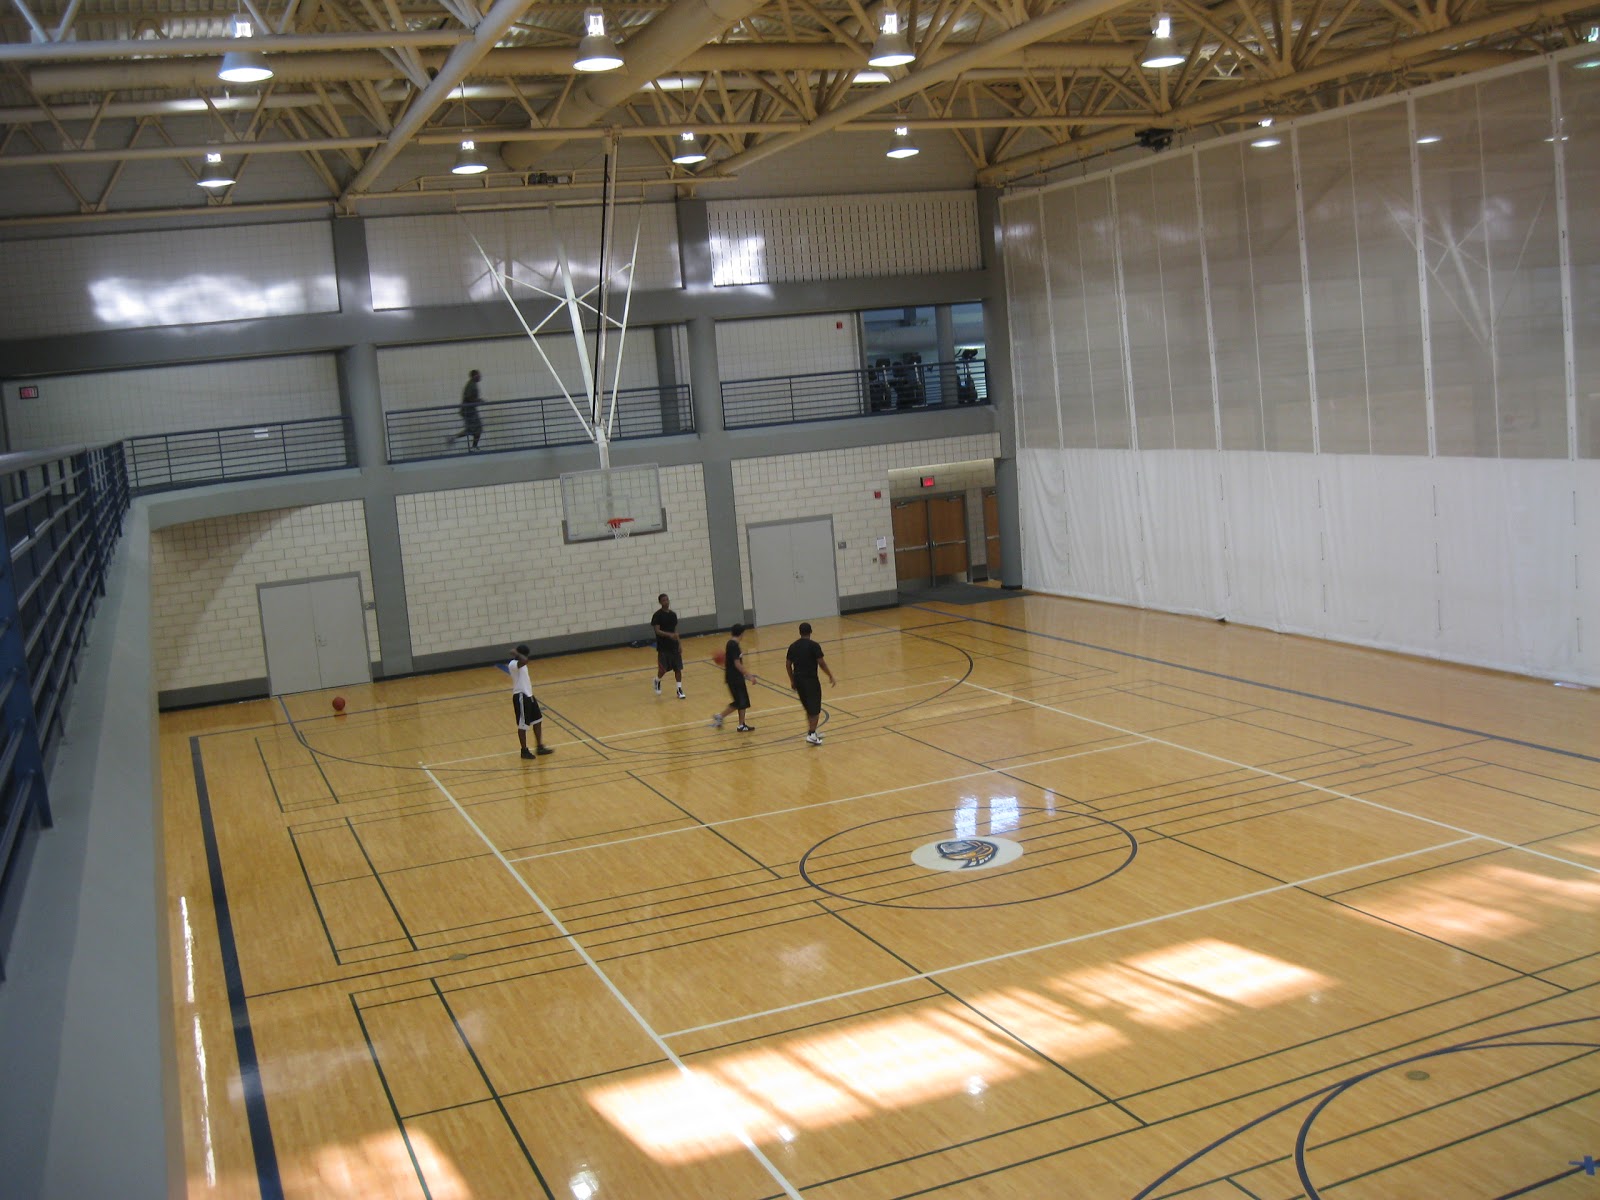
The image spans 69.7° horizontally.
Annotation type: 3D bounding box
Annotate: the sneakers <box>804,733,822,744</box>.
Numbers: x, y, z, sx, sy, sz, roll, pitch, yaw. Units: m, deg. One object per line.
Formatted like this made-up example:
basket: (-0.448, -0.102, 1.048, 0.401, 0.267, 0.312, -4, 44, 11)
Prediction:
sneakers: (0.219, 2.068, 17.268, 0.099, 0.204, 0.299, 8, 22, 31)

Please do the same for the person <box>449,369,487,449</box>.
person: (-7.124, -4.116, 24.906, 0.649, 1.771, 0.712, 0, 10, 26)

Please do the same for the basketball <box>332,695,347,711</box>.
basketball: (-8.962, 2.009, 22.255, 0.205, 0.251, 0.211, 3, -1, 22)

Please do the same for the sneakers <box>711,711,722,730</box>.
sneakers: (-1.348, 1.959, 18.647, 0.171, 0.280, 0.295, 4, 22, 6)
